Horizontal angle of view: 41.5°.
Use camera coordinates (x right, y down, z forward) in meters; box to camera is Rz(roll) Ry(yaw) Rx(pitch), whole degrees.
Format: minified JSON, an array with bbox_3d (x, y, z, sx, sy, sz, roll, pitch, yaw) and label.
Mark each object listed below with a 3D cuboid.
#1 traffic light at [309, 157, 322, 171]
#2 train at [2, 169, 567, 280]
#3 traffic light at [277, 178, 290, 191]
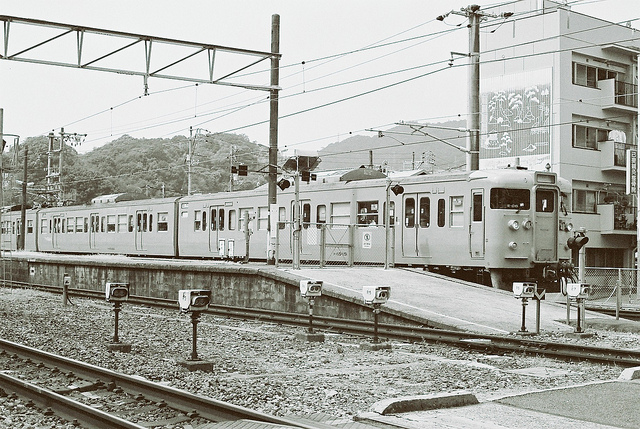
[{"bbox_3d":[-0.157,-1.709,28.552,0.373,0.433,0.677,1,-3,0],"label":"traffic light"},{"bbox_3d":[-7.805,0.616,41.589,9.457,3.859,39.487,4,-4,-42],"label":"train"},{"bbox_3d":[-1.282,-1.102,30.599,0.359,0.346,0.693,2,-3,-13],"label":"traffic light"}]
